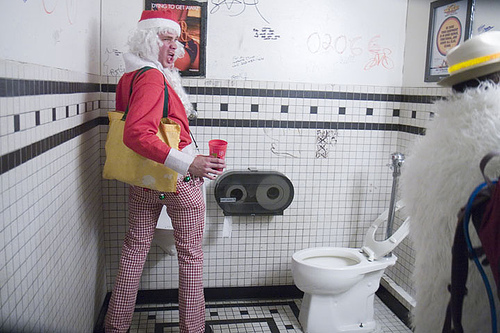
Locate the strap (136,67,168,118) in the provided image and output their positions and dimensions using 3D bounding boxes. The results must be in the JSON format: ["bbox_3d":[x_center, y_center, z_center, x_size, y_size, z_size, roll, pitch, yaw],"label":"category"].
[{"bbox_3d":[-0.560,-0.356,1.859,0.233,0.224,0.168,-5,8,-26],"label":"strap"}]

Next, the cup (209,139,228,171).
[{"bbox_3d":[-0.189,-0.089,2.031,0.097,0.276,0.197,2,-27,-7],"label":"cup"}]

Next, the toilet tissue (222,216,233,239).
[{"bbox_3d":[-0.178,0.485,2.788,0.088,0.158,0.214,0,-27,-5],"label":"toilet tissue"}]

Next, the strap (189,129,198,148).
[{"bbox_3d":[-0.398,-0.181,2.496,0.011,0.102,0.011,-26,-16,-8],"label":"strap"}]

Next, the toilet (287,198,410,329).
[{"bbox_3d":[0.583,0.690,3.083,1.104,1.371,0.794,1,6,-2],"label":"toilet"}]

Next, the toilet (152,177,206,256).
[{"bbox_3d":[-0.468,0.391,2.785,0.404,0.561,0.542,2,-39,-7],"label":"toilet"}]

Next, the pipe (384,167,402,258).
[{"bbox_3d":[1.080,0.355,2.622,0.100,0.701,0.103,0,7,-13],"label":"pipe"}]
